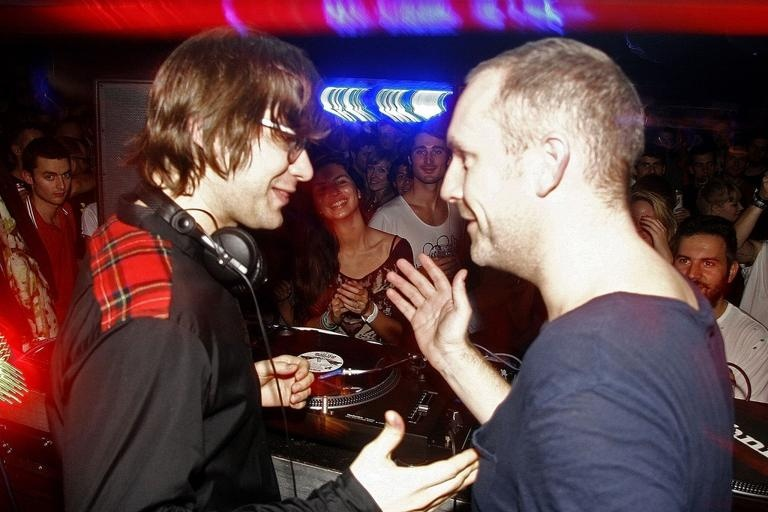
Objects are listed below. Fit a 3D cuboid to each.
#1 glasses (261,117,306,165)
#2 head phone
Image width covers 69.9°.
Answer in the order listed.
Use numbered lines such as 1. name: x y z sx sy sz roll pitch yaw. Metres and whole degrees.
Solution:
1. glasses: -0.376 -0.405 2.089 0.154 0.049 0.148 33 -3 4
2. head phone: -0.671 -0.037 1.964 0.434 0.154 0.426 32 -6 12
